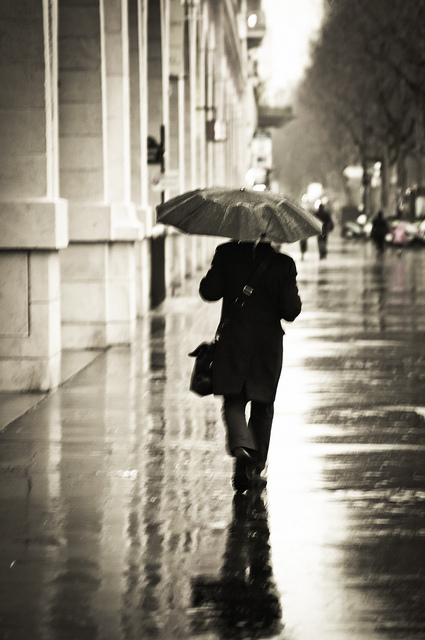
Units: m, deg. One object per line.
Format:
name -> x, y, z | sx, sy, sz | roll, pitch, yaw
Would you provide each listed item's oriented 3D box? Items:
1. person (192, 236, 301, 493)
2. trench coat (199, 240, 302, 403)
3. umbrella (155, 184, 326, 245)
person -> 0.206, 0.200, 6.868 | 0.589, 1.485, 1.933 | 0, 5, 0
trench coat -> 0.208, 0.014, 6.240 | 0.574, 0.949, 0.248 | 0, 4, 1
umbrella -> 0.103, -0.592, 6.085 | 0.920, 0.416, 0.755 | 4, 16, 5
